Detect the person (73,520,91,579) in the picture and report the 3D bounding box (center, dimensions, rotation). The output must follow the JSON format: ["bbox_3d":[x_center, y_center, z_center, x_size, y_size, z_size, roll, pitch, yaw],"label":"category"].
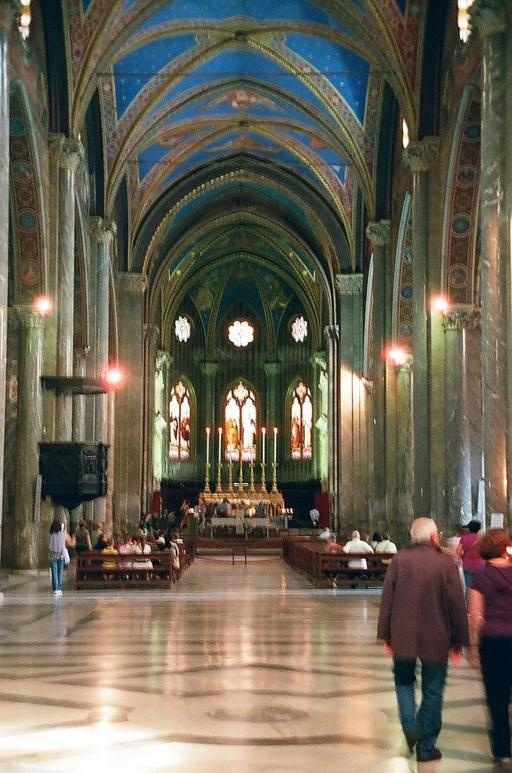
[{"bbox_3d":[-3.727,3.471,15.827,0.258,1.365,0.330,2,4,8],"label":"person"}]

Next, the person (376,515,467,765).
[{"bbox_3d":[0.758,1.147,3.419,0.393,1.052,0.326,2,-7,-20],"label":"person"}]

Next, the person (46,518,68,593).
[{"bbox_3d":[-3.444,2.967,12.888,0.317,1.264,1.665,1,-9,-14],"label":"person"}]

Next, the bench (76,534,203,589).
[{"bbox_3d":[-2.549,3.690,15.130,2.150,0.770,2.639,2,-10,-13],"label":"bench"}]
